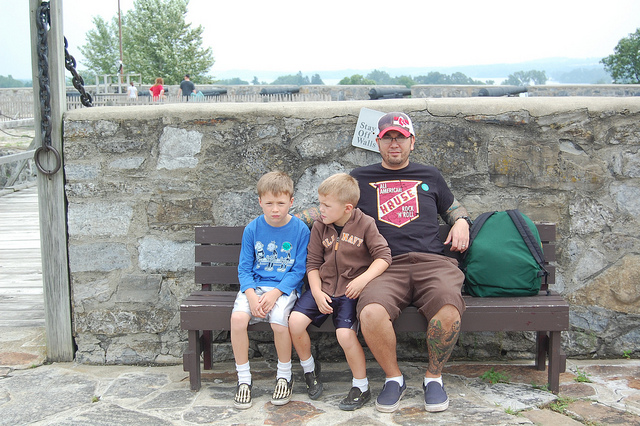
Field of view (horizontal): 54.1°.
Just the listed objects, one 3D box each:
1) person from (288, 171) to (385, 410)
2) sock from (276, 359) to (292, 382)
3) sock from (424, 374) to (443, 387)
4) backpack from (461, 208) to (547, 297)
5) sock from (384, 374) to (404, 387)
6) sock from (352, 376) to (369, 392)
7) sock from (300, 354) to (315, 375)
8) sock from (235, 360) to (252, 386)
[{"bbox_3d":[0.118,0.523,4.444,0.679,1.607,0.464,-1,2,3],"label":"person"},{"bbox_3d":[-0.257,1.080,4.355,0.131,0.154,0.123,-4,7,-23],"label":"sock"},{"bbox_3d":[0.782,1.148,4.344,0.121,0.061,0.143,-1,1,7],"label":"sock"},{"bbox_3d":[1.416,0.295,4.712,0.704,0.658,0.421,-3,-2,32],"label":"backpack"},{"bbox_3d":[0.513,1.149,4.320,0.127,0.071,0.096,-1,1,3],"label":"sock"},{"bbox_3d":[0.278,1.167,4.297,0.102,0.082,0.079,-2,0,19],"label":"sock"},{"bbox_3d":[-0.078,1.067,4.436,0.069,0.122,0.139,0,2,43],"label":"sock"},{"bbox_3d":[-0.544,1.118,4.409,0.093,0.160,0.144,-1,1,-9],"label":"sock"}]
